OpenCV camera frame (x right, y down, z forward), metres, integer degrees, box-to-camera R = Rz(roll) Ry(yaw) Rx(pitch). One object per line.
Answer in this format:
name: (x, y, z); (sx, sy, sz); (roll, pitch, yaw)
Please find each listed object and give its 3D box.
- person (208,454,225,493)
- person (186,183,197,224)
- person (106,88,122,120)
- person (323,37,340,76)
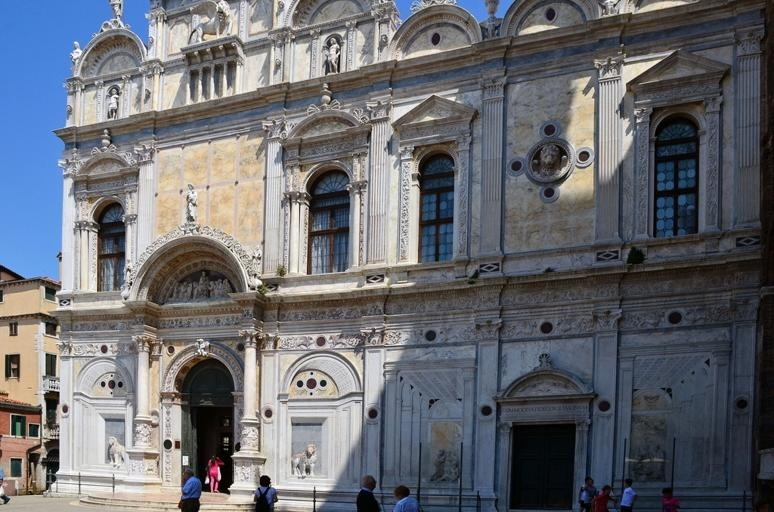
person: (-6.773, 8.646, 79.866); (0.624, 1.490, 0.951); (0, -14, -5)
person: (-7.782, -2.181, 80.650); (0.478, 1.860, 0.805); (0, -14, -6)
person: (-11.276, -6.488, 83.410); (0.611, 1.385, 0.236); (-11, -18, 34)
person: (-2.198, -8.151, 80.088); (0.718, 1.522, 0.225); (-8, -16, 25)
